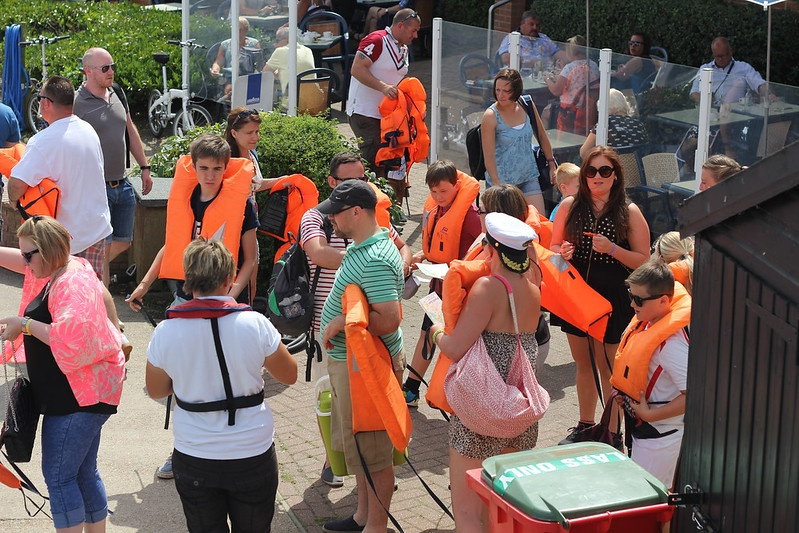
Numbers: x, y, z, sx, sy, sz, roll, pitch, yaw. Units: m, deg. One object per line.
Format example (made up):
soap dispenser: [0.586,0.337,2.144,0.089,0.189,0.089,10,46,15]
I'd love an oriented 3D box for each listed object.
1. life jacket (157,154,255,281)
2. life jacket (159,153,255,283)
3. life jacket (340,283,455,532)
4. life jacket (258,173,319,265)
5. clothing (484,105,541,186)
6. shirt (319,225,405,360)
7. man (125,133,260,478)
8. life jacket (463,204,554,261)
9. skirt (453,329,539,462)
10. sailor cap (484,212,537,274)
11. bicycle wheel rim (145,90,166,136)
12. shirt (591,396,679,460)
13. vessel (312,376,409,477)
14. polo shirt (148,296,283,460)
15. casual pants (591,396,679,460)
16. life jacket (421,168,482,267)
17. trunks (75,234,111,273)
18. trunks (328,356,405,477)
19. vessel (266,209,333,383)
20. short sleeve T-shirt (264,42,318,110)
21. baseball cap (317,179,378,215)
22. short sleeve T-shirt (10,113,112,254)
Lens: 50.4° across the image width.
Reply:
life jacket: [-1.586,-0.415,7.048,0.744,1.107,0.304,6,-9,7]
life jacket: [-1.586,-0.422,7.050,0.733,1.117,0.308,6,-8,8]
life jacket: [-0.161,0.979,5.667,0.615,1.669,0.469,8,14,24]
life jacket: [-1.061,-0.446,7.831,0.274,0.786,0.579,12,17,-45]
clothing: [1.312,-1.331,9.629,0.623,0.930,0.304,-6,15,-33]
shirt: [-0.266,0.203,5.972,0.563,0.938,0.942,2,10,-10]
man: [-1.684,0.297,7.054,0.899,2.932,0.928,2,13,1]
life jacket: [0.970,-0.308,7.446,0.618,0.297,0.529,-21,21,20]
skirt: [0.605,0.821,5.454,0.674,0.954,0.486,1,28,-8]
sailor cap: [0.706,-0.127,5.463,0.314,0.368,0.207,4,13,5]
bicycle wheel rim: [-4.339,-2.712,15.060,0.195,0.880,0.405,6,-20,-41]
shirt: [1.614,1.156,5.957,0.597,0.304,0.624,-8,-28,15]
vessel: [-0.245,1.120,6.414,0.753,0.812,0.571,-6,15,-11]
polo shirt: [-1.138,0.696,5.272,0.831,0.954,0.472,-6,-2,-17]
casual pants: [1.612,1.147,5.949,0.597,0.304,0.624,-8,-28,15]
life jacket: [0.450,-0.390,7.353,0.435,0.882,0.627,-5,31,-24]
trunks: [-2.723,-0.115,7.460,0.222,0.309,0.172,-18,37,-27]
trunks: [-0.226,1.005,5.759,0.488,0.908,0.535,-12,22,-6]
vessel: [-0.778,0.240,6.547,0.472,1.246,0.450,-1,4,21]
short sleeve T-shirt: [-1.819,-3.043,13.181,0.348,0.674,0.621,21,35,19]
baseball cap: [-0.351,-0.446,5.779,0.449,0.250,0.301,0,2,2]
short sleeve T-shirt: [-2.932,-0.707,7.366,0.591,1.154,0.959,18,29,29]
